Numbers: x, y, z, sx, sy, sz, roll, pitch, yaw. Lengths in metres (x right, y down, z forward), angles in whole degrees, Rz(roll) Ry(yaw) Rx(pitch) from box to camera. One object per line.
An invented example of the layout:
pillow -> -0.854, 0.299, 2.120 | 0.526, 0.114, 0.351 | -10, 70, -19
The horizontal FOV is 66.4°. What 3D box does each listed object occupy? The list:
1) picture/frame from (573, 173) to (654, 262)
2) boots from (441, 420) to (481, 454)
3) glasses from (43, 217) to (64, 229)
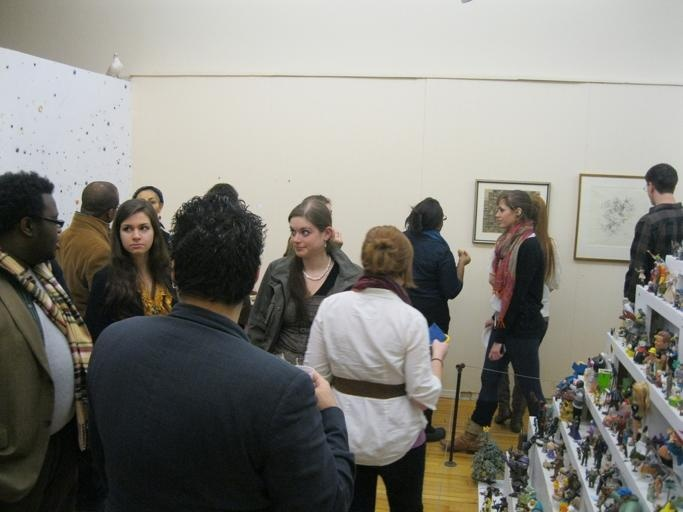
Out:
picture/frame -> 2.460, -0.334, 4.638 | 0.672, 0.781, 0.020 | 4, 1, 12
boots -> 0.866, 1.249, 3.661 | 0.282, 0.244, 0.111 | 5, 29, -4
glasses -> -1.239, -0.149, 2.262 | 0.064, 0.020, 0.067 | 8, 5, -17
